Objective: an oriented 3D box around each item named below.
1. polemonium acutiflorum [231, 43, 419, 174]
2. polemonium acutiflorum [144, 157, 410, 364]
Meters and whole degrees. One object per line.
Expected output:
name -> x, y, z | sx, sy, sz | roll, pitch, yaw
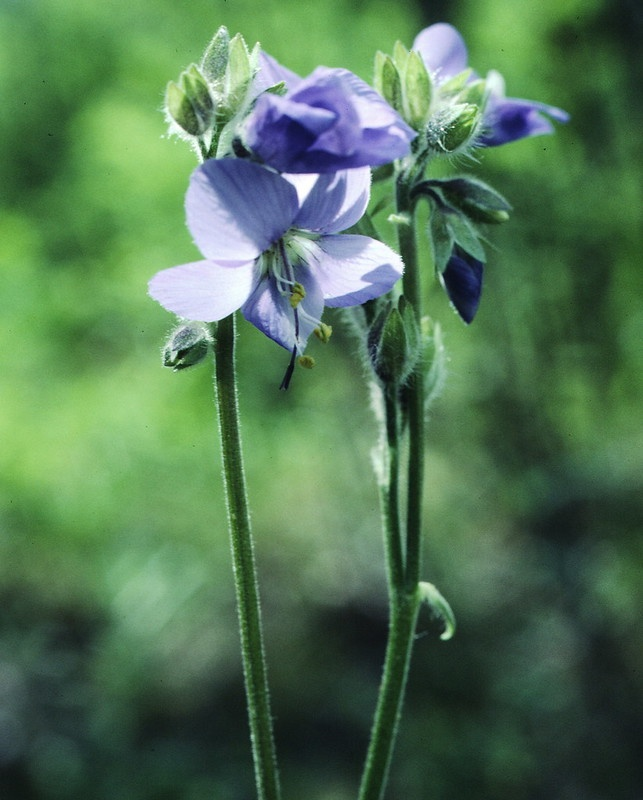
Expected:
polemonium acutiflorum -> 0.000, -0.219, 0.760 | 0.119, 0.096, 0.043 | 11, -55, -26
polemonium acutiflorum -> -0.043, -0.140, 0.804 | 0.201, 0.086, 0.172 | -22, -58, -21
